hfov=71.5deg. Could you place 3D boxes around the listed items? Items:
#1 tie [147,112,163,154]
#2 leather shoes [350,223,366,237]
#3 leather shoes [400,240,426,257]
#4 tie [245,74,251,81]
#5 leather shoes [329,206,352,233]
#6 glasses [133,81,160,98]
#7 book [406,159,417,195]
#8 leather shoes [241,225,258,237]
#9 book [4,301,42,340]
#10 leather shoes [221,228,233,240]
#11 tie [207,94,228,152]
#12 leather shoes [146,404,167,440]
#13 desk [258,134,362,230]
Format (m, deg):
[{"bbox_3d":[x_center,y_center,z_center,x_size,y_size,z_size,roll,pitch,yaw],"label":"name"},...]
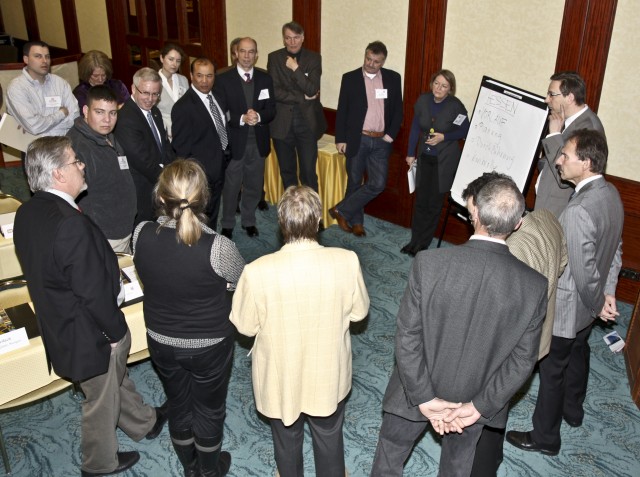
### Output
[{"bbox_3d":[-1.548,-1.000,4.152,0.072,0.282,0.192,-19,19,-13],"label":"tie"},{"bbox_3d":[0.469,-0.099,5.546,0.179,0.205,0.111,20,29,40],"label":"leather shoes"},{"bbox_3d":[0.982,0.108,4.708,0.128,0.094,0.211,-26,23,-33],"label":"leather shoes"},{"bbox_3d":[-0.787,-1.763,4.913,0.056,0.083,0.034,-3,20,-11],"label":"tie"},{"bbox_3d":[0.257,-0.218,5.478,0.171,0.418,0.144,-41,25,-5],"label":"leather shoes"},{"bbox_3d":[-1.568,-1.336,4.001,0.245,0.141,0.193,-5,22,-17],"label":"glasses"},{"bbox_3d":[1.048,-0.691,5.079,0.091,0.283,0.194,0,-5,5],"label":"book"},{"bbox_3d":[-0.870,-0.115,5.522,0.095,0.105,0.221,-31,47,-35],"label":"leather shoes"},{"bbox_3d":[-1.819,0.550,2.778,0.146,0.089,0.349,-20,42,-32],"label":"book"},{"bbox_3d":[-0.971,-0.048,4.651,0.118,0.084,0.122,-16,27,-12],"label":"leather shoes"},{"bbox_3d":[-1.075,-1.199,4.675,0.116,0.583,0.248,7,21,16],"label":"tie"},{"bbox_3d":[-1.133,1.287,3.141,0.071,0.090,0.218,8,30,14],"label":"leather shoes"},{"bbox_3d":[-0.063,-0.692,6.205,1.562,1.277,1.036,19,36,27],"label":"desk"}]
